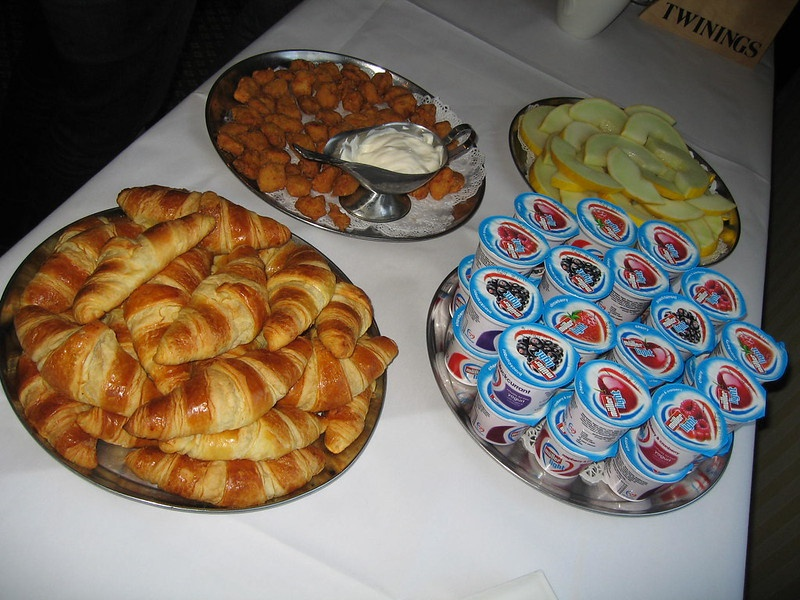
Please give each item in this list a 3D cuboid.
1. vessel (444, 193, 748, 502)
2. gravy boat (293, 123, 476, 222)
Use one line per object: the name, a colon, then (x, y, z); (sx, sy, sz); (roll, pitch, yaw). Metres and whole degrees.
vessel: (0.538, 0.098, 1.774); (0.873, 0.294, 0.886); (1, 65, -7)
gravy boat: (-0.050, -0.421, 2.044); (0.580, 0.227, 0.276); (-7, 52, -12)
